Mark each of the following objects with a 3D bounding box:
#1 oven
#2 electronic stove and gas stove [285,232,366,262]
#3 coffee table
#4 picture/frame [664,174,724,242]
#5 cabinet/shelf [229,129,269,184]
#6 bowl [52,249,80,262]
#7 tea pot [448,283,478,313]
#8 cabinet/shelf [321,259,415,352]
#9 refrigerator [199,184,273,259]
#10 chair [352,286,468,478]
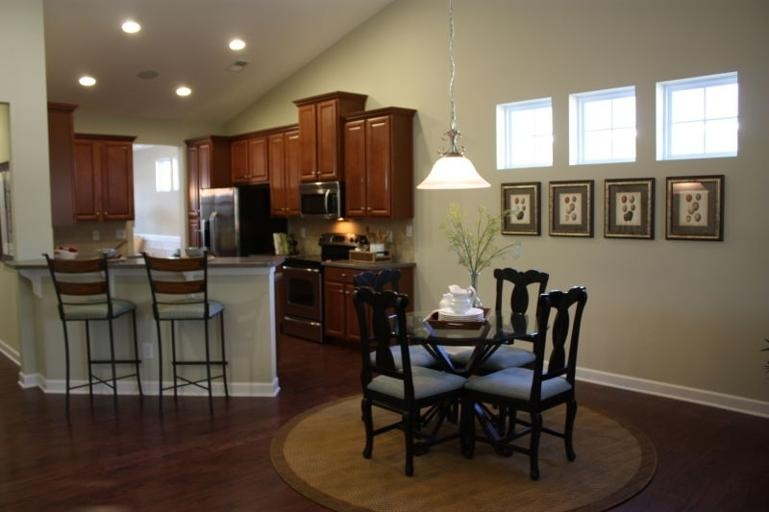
[{"bbox_3d":[-0.960,0.631,8.282,0.947,1.173,1.026,-3,6,-33],"label":"oven"},{"bbox_3d":[-0.683,-0.142,8.210,0.554,0.316,0.788,-2,4,-45],"label":"electronic stove and gas stove"},{"bbox_3d":[0.618,0.997,5.012,1.200,0.766,1.195,1,3,25],"label":"coffee table"},{"bbox_3d":[3.073,-0.483,5.527,0.686,0.920,0.103,0,3,35],"label":"picture/frame"},{"bbox_3d":[-2.191,-1.620,9.185,0.986,0.838,0.384,2,3,44],"label":"cabinet/shelf"},{"bbox_3d":[-3.588,-0.006,6.295,0.410,0.145,0.301,2,1,40],"label":"bowl"},{"bbox_3d":[0.700,0.390,5.032,0.258,0.226,0.199,1,1,20],"label":"tea pot"},{"bbox_3d":[-0.119,0.517,7.755,1.485,1.392,1.049,3,6,41],"label":"cabinet/shelf"},{"bbox_3d":[-2.365,-0.553,8.899,1.125,1.054,0.665,-1,13,-1],"label":"refrigerator"},{"bbox_3d":[0.144,0.923,4.997,0.840,1.526,1.297,-3,13,-9],"label":"chair"}]
